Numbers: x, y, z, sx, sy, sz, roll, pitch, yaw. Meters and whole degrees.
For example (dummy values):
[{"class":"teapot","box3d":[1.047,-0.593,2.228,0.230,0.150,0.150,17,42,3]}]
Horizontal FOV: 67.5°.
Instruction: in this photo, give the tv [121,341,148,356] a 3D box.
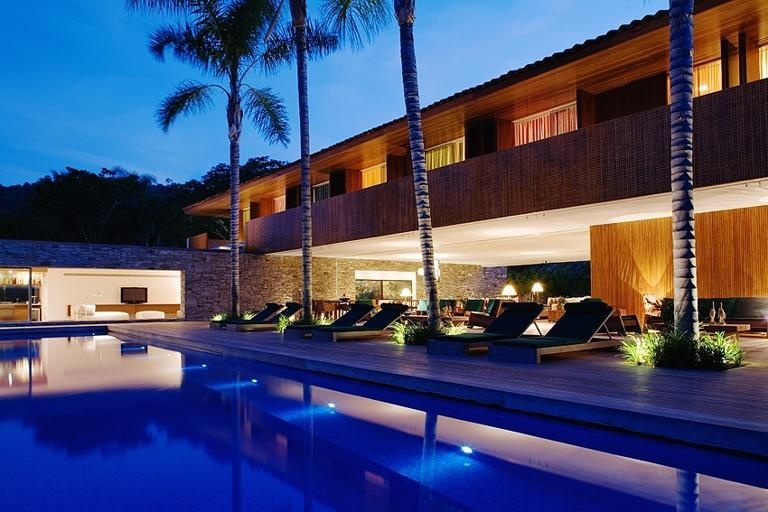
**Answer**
[{"class":"tv","box3d":[-6.369,2.404,14.666,0.605,0.138,0.568,0,-3,27]}]

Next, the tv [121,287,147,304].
[{"class":"tv","box3d":[-11.618,1.870,26.644,1.159,0.843,0.305,-6,10,-24]}]

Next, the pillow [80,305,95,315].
[{"class":"pillow","box3d":[-10.723,1.980,20.779,0.522,0.375,0.519,-2,-6,4]}]
